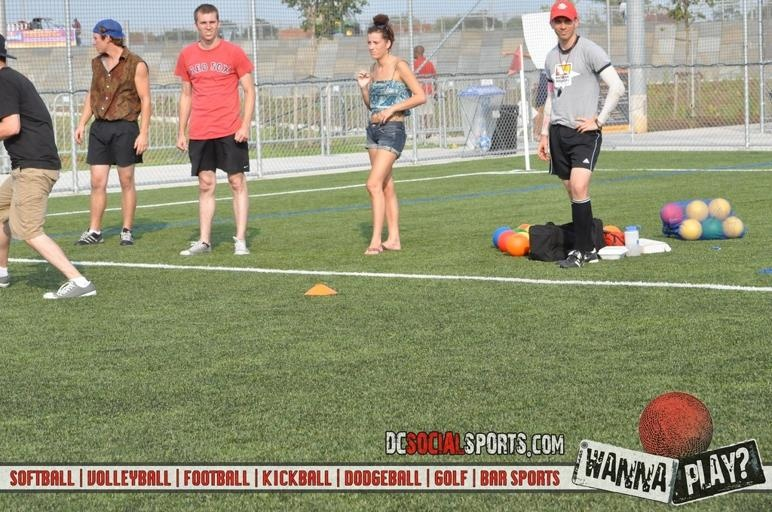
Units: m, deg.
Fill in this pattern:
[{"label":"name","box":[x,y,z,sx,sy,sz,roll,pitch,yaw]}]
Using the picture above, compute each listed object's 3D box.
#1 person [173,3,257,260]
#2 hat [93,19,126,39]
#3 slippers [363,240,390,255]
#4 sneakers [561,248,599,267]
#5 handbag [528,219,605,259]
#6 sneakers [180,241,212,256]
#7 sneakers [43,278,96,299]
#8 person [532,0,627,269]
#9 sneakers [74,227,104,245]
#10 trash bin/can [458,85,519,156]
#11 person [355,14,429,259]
[{"label":"person","box":[-1.793,-1.292,8.236,0.849,2.518,0.581,-2,12,-1]},{"label":"hat","box":[-2.991,-2.470,8.679,0.266,0.158,0.202,-1,20,-29]},{"label":"slippers","box":[-0.095,-0.087,8.202,0.103,0.091,0.242,-2,5,30]},{"label":"sneakers","box":[1.759,-0.016,7.340,0.395,0.158,0.150,-7,5,-30]},{"label":"handbag","box":[1.667,-0.159,7.598,0.542,0.263,0.406,-11,10,-22]},{"label":"sneakers","box":[-1.993,-0.088,8.452,0.370,0.155,0.132,-4,9,-27]},{"label":"sneakers","box":[-2.640,0.251,6.681,0.473,0.198,0.163,1,4,-17]},{"label":"person","box":[1.748,-1.136,7.303,0.791,2.351,0.605,4,13,26]},{"label":"sneakers","box":[-3.403,-0.233,9.176,0.124,0.165,0.352,1,0,30]},{"label":"trash bin/can","box":[2.634,-3.681,21.591,1.750,2.363,1.855,0,9,22]},{"label":"person","box":[0.042,-1.225,8.084,0.606,2.339,0.520,-2,12,-2]}]
